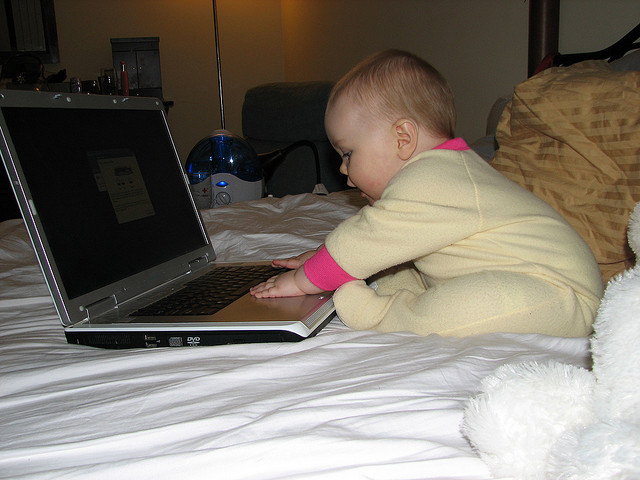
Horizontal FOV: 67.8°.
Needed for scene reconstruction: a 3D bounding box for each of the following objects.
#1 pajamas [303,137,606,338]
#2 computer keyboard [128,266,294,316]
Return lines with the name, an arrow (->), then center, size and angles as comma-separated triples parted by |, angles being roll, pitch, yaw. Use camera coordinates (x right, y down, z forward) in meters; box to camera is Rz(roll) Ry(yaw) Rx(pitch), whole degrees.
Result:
pajamas -> 0.246, -0.013, 0.887 | 0.467, 0.328, 0.565 | -9, 16, -23
computer keyboard -> -0.208, 0.098, 0.883 | 0.099, 0.006, 0.184 | 2, 11, 15
